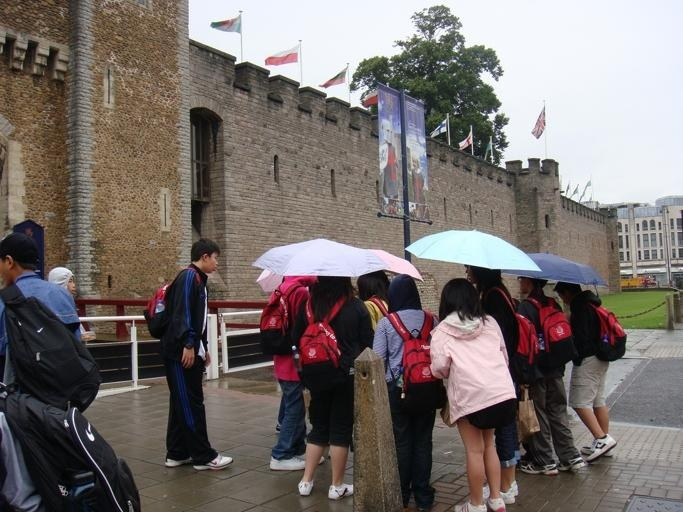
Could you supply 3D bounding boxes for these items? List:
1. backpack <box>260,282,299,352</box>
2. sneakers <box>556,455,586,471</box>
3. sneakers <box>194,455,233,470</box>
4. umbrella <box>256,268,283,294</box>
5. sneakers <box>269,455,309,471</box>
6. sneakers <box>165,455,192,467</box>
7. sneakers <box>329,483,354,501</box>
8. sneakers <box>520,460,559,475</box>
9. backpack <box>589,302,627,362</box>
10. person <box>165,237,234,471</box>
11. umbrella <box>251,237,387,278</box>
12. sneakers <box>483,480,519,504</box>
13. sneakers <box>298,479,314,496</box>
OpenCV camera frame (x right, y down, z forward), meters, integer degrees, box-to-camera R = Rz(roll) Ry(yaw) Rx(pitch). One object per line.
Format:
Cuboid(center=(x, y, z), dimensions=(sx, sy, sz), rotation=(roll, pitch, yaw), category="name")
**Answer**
Cuboid(center=(-0.705, 0.717, 6.674), dimensions=(0.424, 0.789, 0.235), rotation=(-2, -2, 20), category="backpack")
Cuboid(center=(2.510, 2.281, 6.571), dimensions=(0.305, 0.152, 0.136), rotation=(-6, -8, 42), category="sneakers")
Cuboid(center=(-1.396, 2.245, 6.578), dimensions=(0.409, 0.202, 0.168), rotation=(-5, -1, -3), category="sneakers")
Cuboid(center=(-0.955, 0.293, 7.880), dimensions=(0.351, 0.154, 0.373), rotation=(-15, -44, -1), category="umbrella")
Cuboid(center=(-0.583, 2.294, 6.671), dimensions=(0.384, 0.186, 0.150), rotation=(0, -8, -2), category="sneakers")
Cuboid(center=(-1.838, 2.300, 6.726), dimensions=(0.283, 0.139, 0.108), rotation=(3, -5, -20), category="sneakers")
Cuboid(center=(-0.007, 2.296, 5.886), dimensions=(0.111, 0.133, 0.315), rotation=(-3, -3, 41), category="sneakers")
Cuboid(center=(2.175, 2.286, 6.569), dimensions=(0.389, 0.194, 0.153), rotation=(3, -1, 28), category="sneakers")
Cuboid(center=(3.209, 0.926, 7.142), dimensions=(0.331, 0.715, 0.551), rotation=(-2, -2, 28), category="backpack")
Cuboid(center=(-1.608, 1.072, 6.496), dimensions=(0.703, 2.526, 0.546), rotation=(-1, -2, -5), category="person")
Cuboid(center=(-0.304, 0.006, 6.177), dimensions=(0.967, 0.414, 1.332), rotation=(0, -3, -44), category="umbrella")
Cuboid(center=(1.562, 2.289, 5.937), dimensions=(0.170, 0.227, 0.470), rotation=(-2, -5, -16), category="sneakers")
Cuboid(center=(-0.356, 2.298, 5.918), dimensions=(0.105, 0.089, 0.217), rotation=(3, -15, 0), category="sneakers")
